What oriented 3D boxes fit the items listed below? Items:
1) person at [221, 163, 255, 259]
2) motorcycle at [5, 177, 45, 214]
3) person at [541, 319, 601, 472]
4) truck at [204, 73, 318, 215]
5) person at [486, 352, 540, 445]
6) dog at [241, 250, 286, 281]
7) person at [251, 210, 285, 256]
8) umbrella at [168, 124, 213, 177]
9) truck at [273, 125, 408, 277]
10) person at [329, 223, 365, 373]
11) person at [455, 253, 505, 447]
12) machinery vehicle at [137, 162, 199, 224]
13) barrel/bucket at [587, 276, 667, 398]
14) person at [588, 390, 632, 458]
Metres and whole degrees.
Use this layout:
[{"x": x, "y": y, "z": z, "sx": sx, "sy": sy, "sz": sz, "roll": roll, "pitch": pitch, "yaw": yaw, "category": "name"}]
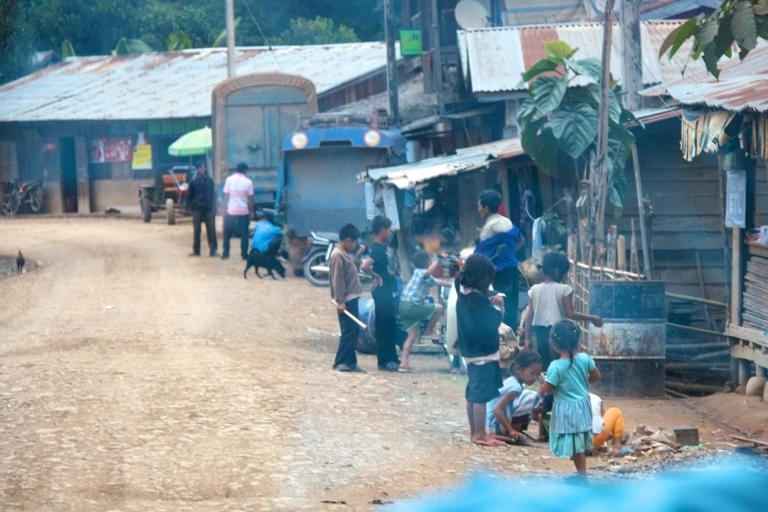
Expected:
[{"x": -3.225, "y": -0.972, "z": 29.496, "sx": 0.732, "sy": 2.002, "sz": 0.806, "roll": 0, "pitch": 1, "yaw": -9, "category": "person"}, {"x": -10.841, "y": -1.748, "z": 40.336, "sx": 1.282, "sy": 0.801, "sz": 0.788, "roll": -2, "pitch": 5, "yaw": -25, "category": "motorcycle"}, {"x": 2.840, "y": 2.136, "z": 20.424, "sx": 0.818, "sy": 2.293, "sz": 0.370, "roll": 0, "pitch": 4, "yaw": 8, "category": "person"}, {"x": -2.872, "y": -2.980, "z": 30.908, "sx": 2.027, "sy": 2.078, "sz": 3.367, "roll": 0, "pitch": 8, "yaw": -6, "category": "truck"}, {"x": 2.056, "y": 2.294, "z": 21.318, "sx": 0.913, "sy": 1.523, "sz": 1.412, "roll": 2, "pitch": 1, "yaw": -10, "category": "person"}, {"x": -2.601, "y": 0.176, "z": 28.538, "sx": 1.000, "sy": 0.600, "sz": 1.100, "roll": -1, "pitch": 4, "yaw": -19, "category": "dog"}, {"x": -2.478, "y": -0.504, "z": 28.318, "sx": 0.658, "sy": 0.911, "sz": 0.757, "roll": 0, "pitch": 4, "yaw": 3, "category": "person"}, {"x": -5.275, "y": -2.952, "z": 36.240, "sx": 1.828, "sy": 1.289, "sz": 1.717, "roll": -3, "pitch": 0, "yaw": -4, "category": "umbrella"}, {"x": -1.001, "y": -1.682, "z": 29.785, "sx": 2.236, "sy": 3.059, "sz": 3.389, "roll": -1, "pitch": 5, "yaw": 2, "category": "truck"}, {"x": -0.657, "y": 0.728, "z": 23.173, "sx": 0.578, "sy": 2.542, "sz": 0.402, "roll": -1, "pitch": 4, "yaw": -18, "category": "person"}, {"x": 1.516, "y": 1.469, "z": 21.497, "sx": 0.761, "sy": 3.005, "sz": 1.136, "roll": -4, "pitch": 10, "yaw": -13, "category": "person"}, {"x": -6.016, "y": -1.702, "z": 37.135, "sx": 1.479, "sy": 1.461, "sz": 2.991, "roll": 0, "pitch": -4, "yaw": -21, "category": "machinery vehicle"}, {"x": 4.197, "y": 1.410, "z": 23.197, "sx": 1.078, "sy": 2.132, "sz": 1.291, "roll": 1, "pitch": -1, "yaw": 0, "category": "barrel/bucket"}, {"x": 3.533, "y": 2.681, "z": 21.040, "sx": 1.118, "sy": 1.057, "sz": 0.549, "roll": -1, "pitch": 0, "yaw": 20, "category": "person"}]
